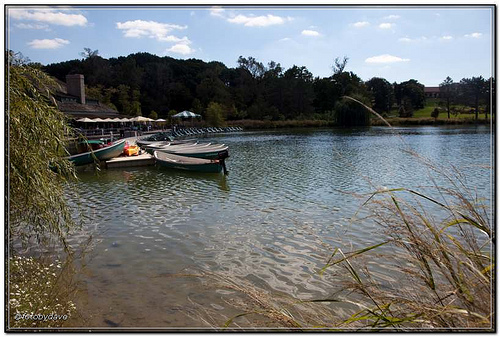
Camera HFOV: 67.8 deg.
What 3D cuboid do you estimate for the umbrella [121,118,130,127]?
[{"bbox_3d":[-13.054,-4.786,39.205,0.725,0.503,0.693,7,14,18],"label":"umbrella"}]

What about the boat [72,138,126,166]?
[{"bbox_3d":[-8.773,-0.922,21.829,0.966,1.201,4.100,1,9,13],"label":"boat"}]

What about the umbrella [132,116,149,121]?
[{"bbox_3d":[-11.929,-5.365,40.531,1.316,0.434,2.225,0,9,2],"label":"umbrella"}]
